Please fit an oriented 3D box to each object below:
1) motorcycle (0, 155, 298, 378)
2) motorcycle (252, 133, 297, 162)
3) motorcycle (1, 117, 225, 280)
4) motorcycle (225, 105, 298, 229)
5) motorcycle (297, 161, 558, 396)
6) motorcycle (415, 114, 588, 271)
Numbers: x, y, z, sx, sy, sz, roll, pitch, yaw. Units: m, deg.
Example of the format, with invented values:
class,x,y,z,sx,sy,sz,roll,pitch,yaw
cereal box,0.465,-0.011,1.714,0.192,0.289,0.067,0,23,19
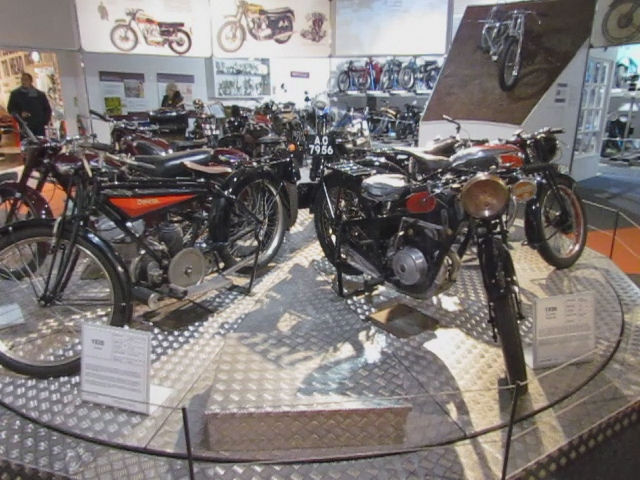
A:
class,x,y,z,sx,sy,sz,roll,pitch,yaw
motorcycle,-1.177,-0.037,3.827,1.055,1.231,2.491,20,21,35
motorcycle,-0.505,-1.012,5.221,0.705,0.313,0.720,-1,6,-1
motorcycle,-1.387,-0.303,3.870,2.077,1.143,1.020,0,21,-27
motorcycle,-0.910,-1.171,6.872,1.099,1.419,2.200,-5,26,-13
motorcycle,0.635,-0.123,3.362,1.080,1.225,2.334,-10,21,-28
motorcycle,1.353,-0.433,3.980,2.026,1.241,0.934,2,0,-6
